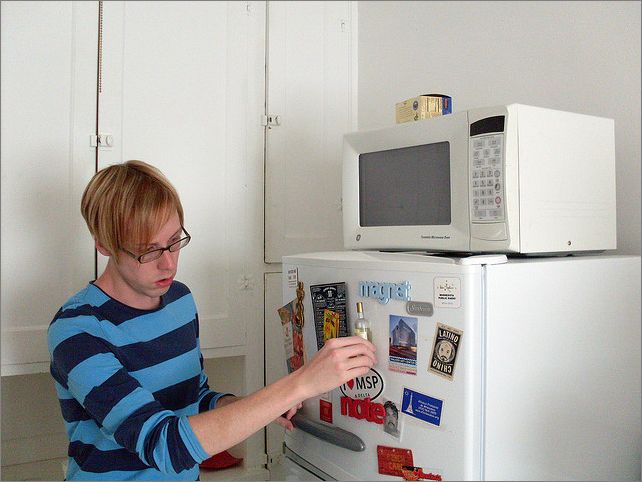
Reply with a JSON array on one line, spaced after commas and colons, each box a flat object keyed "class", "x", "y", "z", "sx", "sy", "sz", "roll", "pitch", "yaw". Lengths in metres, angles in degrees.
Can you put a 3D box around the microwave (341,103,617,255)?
[{"class": "microwave", "x": 0.456, "y": -0.156, "z": 1.474, "sx": 0.416, "sy": 0.381, "sz": 0.611, "roll": 0, "pitch": -2, "yaw": -35}]
